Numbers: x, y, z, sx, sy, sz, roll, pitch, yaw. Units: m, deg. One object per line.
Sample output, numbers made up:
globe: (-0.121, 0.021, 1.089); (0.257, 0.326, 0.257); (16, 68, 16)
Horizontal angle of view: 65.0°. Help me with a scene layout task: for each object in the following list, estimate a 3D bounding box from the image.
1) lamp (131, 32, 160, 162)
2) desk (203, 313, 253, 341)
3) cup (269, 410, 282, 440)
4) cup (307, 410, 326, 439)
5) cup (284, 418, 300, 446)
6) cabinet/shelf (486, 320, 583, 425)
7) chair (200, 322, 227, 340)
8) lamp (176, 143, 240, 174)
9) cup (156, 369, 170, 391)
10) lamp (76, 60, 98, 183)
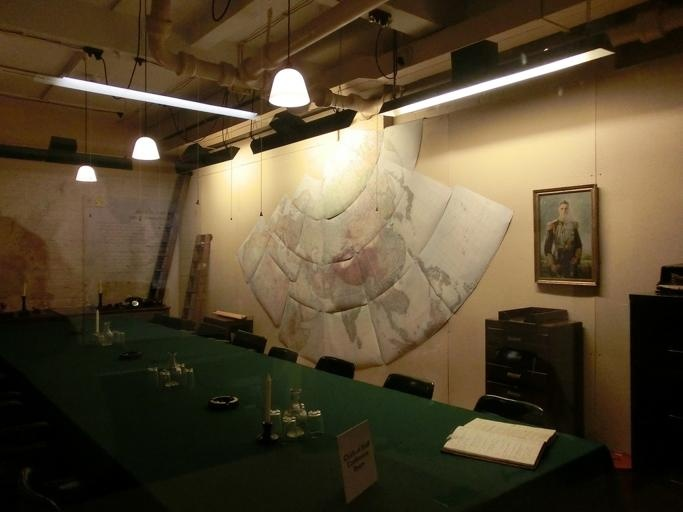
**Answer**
lamp: (-1.838, -1.439, 4.957); (0.263, 1.123, 0.268); (-5, 11, -30)
desk: (-1.414, 0.821, 6.422); (0.333, 0.374, 0.352); (-2, 2, -38)
cup: (-0.458, 1.129, 3.582); (0.109, 0.218, 0.116); (1, -5, 0)
cup: (-0.177, 1.140, 3.628); (0.126, 0.194, 0.133); (-3, -4, 0)
cup: (-0.327, 1.125, 3.517); (0.116, 0.129, 0.076); (0, 10, -4)
cabinet/shelf: (1.790, 1.056, 4.836); (0.457, 1.472, 0.768); (3, -5, -34)
chair: (-1.388, 0.786, 5.792); (0.193, 0.150, 0.207); (4, -2, 17)
lamp: (-1.418, -1.020, 5.598); (0.127, 0.294, 0.731); (8, 13, 36)
cup: (-1.478, 1.023, 4.473); (0.118, 0.162, 0.054); (-36, -23, 17)
lamp: (-2.302, -1.037, 4.729); (0.085, 0.783, 0.183); (5, 11, 25)
